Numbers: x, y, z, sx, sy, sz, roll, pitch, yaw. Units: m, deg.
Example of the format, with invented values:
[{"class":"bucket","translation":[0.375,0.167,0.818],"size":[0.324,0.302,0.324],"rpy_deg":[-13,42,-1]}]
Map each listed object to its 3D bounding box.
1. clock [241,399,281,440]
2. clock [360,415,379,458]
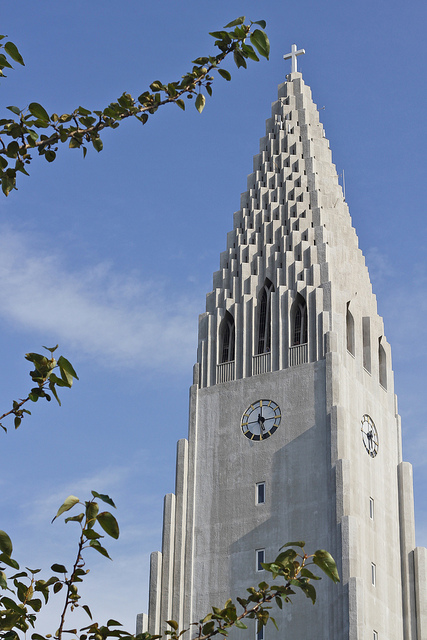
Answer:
[{"class":"clock","translation":[1.639,3.569,59.552],"size":[1.060,1.105,0.218],"rpy_deg":[32,-8,49]},{"class":"clock","translation":[5.343,4.181,60.692],"size":[0.133,1.498,1.428],"rpy_deg":[-14,-22,27]}]
